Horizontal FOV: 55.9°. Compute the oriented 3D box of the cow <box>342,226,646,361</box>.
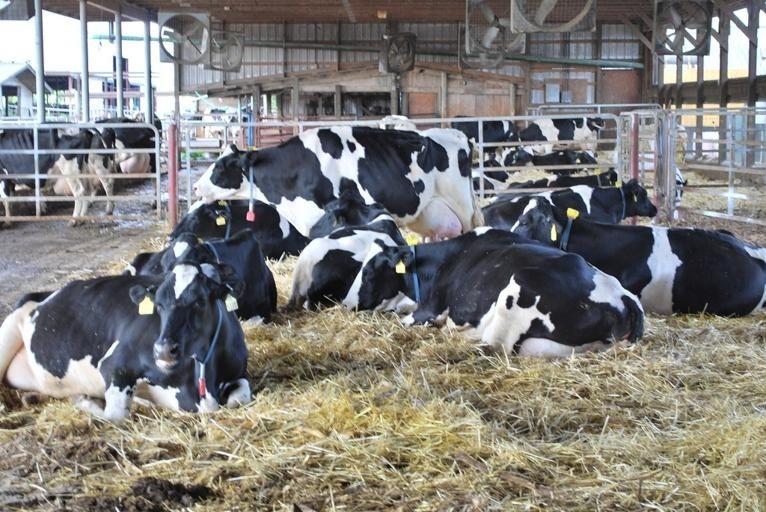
[{"bbox_3d":[0.777,0.231,5.714,2.466,1.086,0.890,10,-1,41],"label":"cow"}]

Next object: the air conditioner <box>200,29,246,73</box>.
[{"bbox_3d":[-3.364,-4.318,15.063,0.649,0.901,1.273,0,16,-25],"label":"air conditioner"}]

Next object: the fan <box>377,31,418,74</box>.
[{"bbox_3d":[0.364,-4.332,15.206,0.798,0.897,0.301,-18,31,-36],"label":"fan"}]
